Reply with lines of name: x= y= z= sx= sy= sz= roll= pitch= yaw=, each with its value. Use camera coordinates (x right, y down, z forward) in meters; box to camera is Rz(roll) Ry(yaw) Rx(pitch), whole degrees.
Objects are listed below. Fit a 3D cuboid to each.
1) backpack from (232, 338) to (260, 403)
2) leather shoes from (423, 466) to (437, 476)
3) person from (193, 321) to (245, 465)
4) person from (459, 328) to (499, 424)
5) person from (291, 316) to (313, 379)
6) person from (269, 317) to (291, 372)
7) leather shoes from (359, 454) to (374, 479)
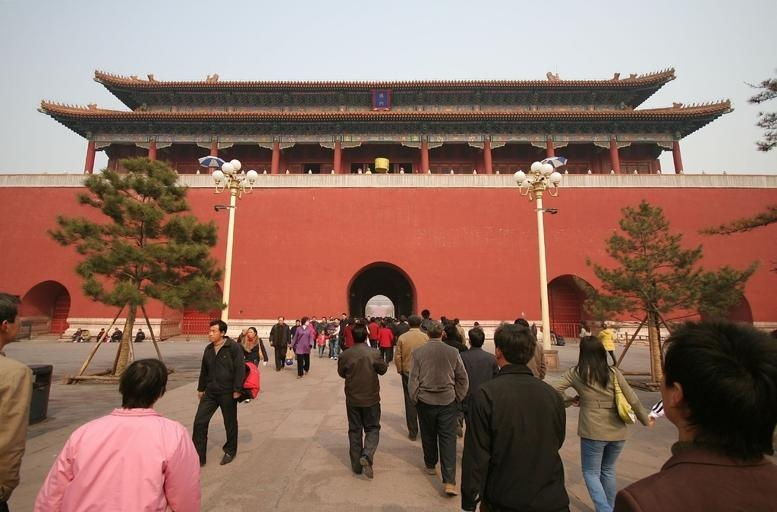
backpack: x=-2.459 y=2.081 z=9.358 sx=0.261 sy=0.504 sz=0.640 roll=16 pitch=5 yaw=-15
leather shoes: x=0.697 y=3.549 z=8.883 sx=0.096 sy=0.089 sz=0.209 roll=0 pitch=8 yaw=-22
person: x=-2.944 y=2.367 z=9.116 sx=0.930 sy=2.281 sz=0.691 roll=-9 pitch=13 yaw=-41
person: x=1.549 y=2.319 z=9.604 sx=0.836 sy=2.082 sz=0.705 roll=2 pitch=12 yaw=4
person: x=-2.308 y=2.490 z=14.461 sx=0.508 sy=1.594 sz=1.502 roll=-2 pitch=10 yaw=-9
person: x=-3.071 y=2.422 z=15.094 sx=0.482 sy=1.748 sz=1.057 roll=-3 pitch=10 yaw=-13
leather shoes: x=-0.359 y=3.403 z=8.740 sx=0.192 sy=0.403 sz=0.181 roll=-11 pitch=-5 yaw=21
